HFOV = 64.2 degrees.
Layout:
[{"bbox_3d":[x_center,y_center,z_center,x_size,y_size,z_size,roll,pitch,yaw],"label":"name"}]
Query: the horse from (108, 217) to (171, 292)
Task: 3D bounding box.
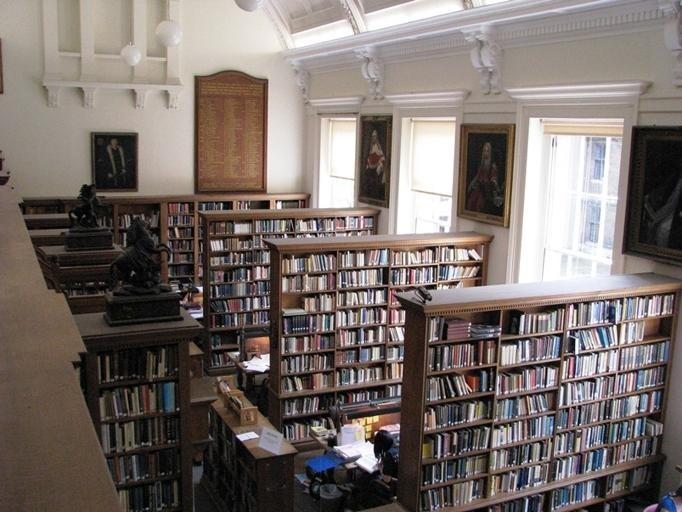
[{"bbox_3d":[-1.838,-0.011,5.006,0.442,0.466,0.274,12,5,-19],"label":"horse"}]
